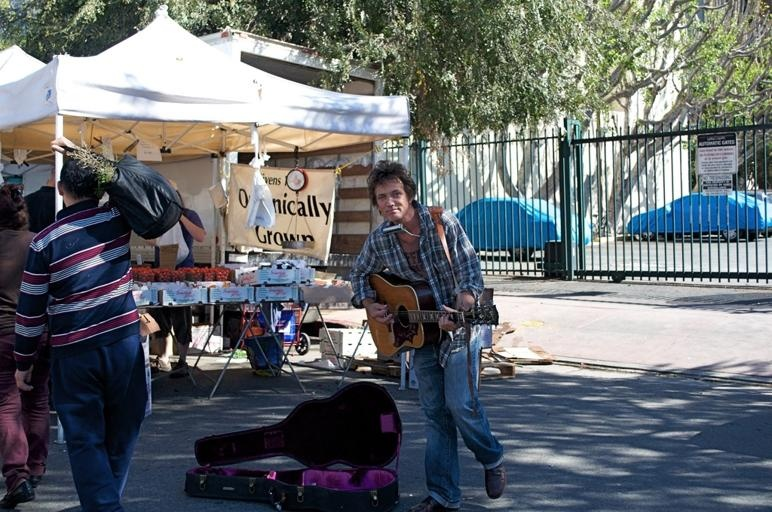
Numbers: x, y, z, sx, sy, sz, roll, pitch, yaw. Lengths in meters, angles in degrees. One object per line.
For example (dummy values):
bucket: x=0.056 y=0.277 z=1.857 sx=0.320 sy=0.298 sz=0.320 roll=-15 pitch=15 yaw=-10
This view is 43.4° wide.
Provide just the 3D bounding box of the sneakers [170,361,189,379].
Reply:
sneakers: x=-2.762 y=1.528 z=13.033 sx=0.257 sy=0.234 sz=0.244 roll=1 pitch=-1 yaw=-13

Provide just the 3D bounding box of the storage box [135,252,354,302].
storage box: x=-1.857 y=0.343 z=12.376 sx=2.714 sy=0.546 sz=1.023 roll=1 pitch=-2 yaw=-20

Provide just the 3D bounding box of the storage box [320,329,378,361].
storage box: x=-0.523 y=1.209 z=13.590 sx=0.524 sy=0.365 sz=0.523 roll=1 pitch=0 yaw=-41
